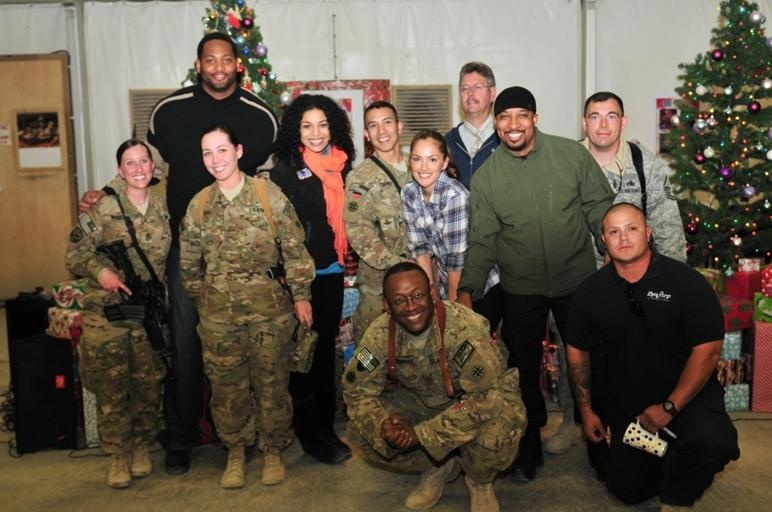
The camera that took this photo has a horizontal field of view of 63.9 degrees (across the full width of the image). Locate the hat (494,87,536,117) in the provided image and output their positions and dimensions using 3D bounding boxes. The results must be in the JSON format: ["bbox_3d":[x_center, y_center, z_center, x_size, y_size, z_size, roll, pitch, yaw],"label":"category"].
[{"bbox_3d":[1.033,-1.253,5.011,0.267,0.158,0.259,1,-3,6],"label":"hat"}]

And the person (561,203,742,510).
[{"bbox_3d":[1.968,0.737,4.665,1.163,2.264,0.510,-1,8,15],"label":"person"}]

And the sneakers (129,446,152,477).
[{"bbox_3d":[-2.038,1.737,5.164,0.114,0.115,0.314,1,1,-16],"label":"sneakers"}]

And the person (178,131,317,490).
[{"bbox_3d":[-1.094,0.408,5.023,1.050,2.885,0.493,-5,8,-12],"label":"person"}]

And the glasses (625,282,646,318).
[{"bbox_3d":[1.863,0.333,4.643,0.084,0.265,0.052,-25,-25,36],"label":"glasses"}]

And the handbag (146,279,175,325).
[{"bbox_3d":[-1.876,0.389,5.152,0.123,0.319,0.274,-9,-18,36],"label":"handbag"}]

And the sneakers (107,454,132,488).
[{"bbox_3d":[-2.173,1.767,5.071,0.186,0.222,0.217,-7,8,-25],"label":"sneakers"}]

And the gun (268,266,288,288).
[{"bbox_3d":[-0.874,0.160,5.037,0.153,0.179,0.060,0,-23,-32],"label":"gun"}]
